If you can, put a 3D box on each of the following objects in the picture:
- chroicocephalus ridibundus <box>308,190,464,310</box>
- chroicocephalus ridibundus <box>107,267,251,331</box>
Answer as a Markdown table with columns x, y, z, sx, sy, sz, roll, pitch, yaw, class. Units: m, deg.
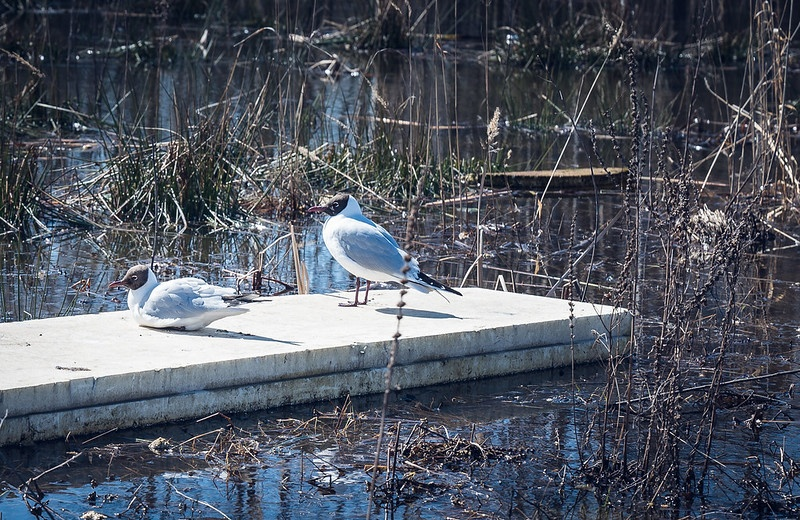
| x | y | z | sx | sy | sz | roll | pitch | yaw | class |
| --- | --- | --- | --- | --- | --- | --- | --- | --- | --- |
| -0.147 | -0.072 | 12.700 | 1.263 | 0.975 | 0.681 | 6 | 8 | 33 | chroicocephalus ridibundus |
| -1.883 | 0.293 | 12.073 | 1.213 | 0.541 | 0.512 | 3 | 2 | 4 | chroicocephalus ridibundus |
